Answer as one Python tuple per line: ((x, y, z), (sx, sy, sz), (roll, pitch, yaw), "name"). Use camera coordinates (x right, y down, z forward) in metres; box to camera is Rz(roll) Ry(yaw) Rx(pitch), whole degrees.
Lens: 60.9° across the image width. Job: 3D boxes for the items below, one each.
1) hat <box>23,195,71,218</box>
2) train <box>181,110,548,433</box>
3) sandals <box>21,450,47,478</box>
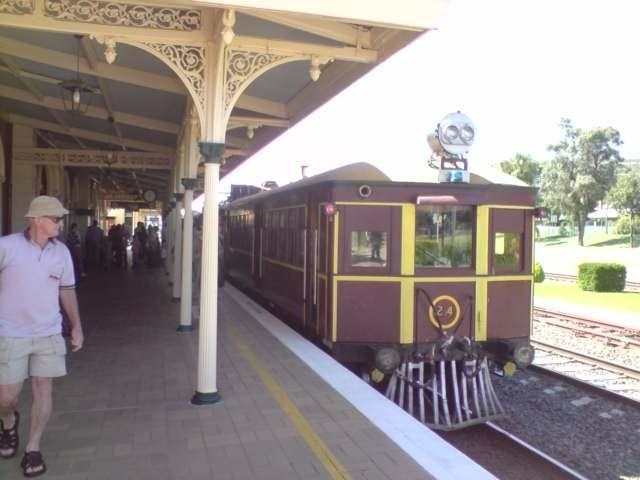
((-2.464, -0.253, 4.909), (0.265, 0.149, 0.256), (-3, 0, 19), "hat")
((-0.047, -0.027, 14.170), (3.622, 5.210, 12.117), (1, 4, -21), "train")
((-2.594, 1.996, 4.902), (0.219, 0.219, 0.176), (1, 4, -23), "sandals")
